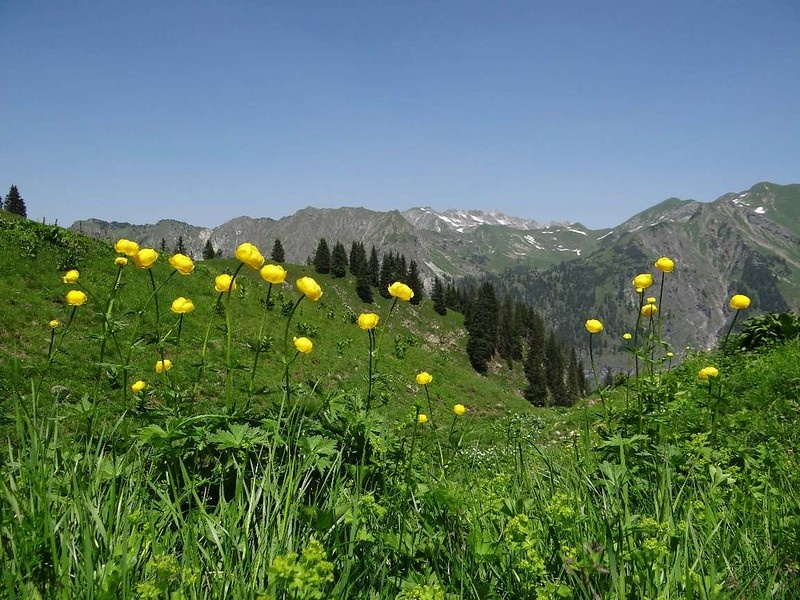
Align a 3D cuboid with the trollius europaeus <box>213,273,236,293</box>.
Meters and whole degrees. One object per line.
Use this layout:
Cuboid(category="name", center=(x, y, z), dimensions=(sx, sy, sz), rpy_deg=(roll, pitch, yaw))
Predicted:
Cuboid(category="trollius europaeus", center=(-1.856, -0.128, 6.703), dimensions=(0.251, 0.217, 0.283), rpy_deg=(1, 11, -7))
